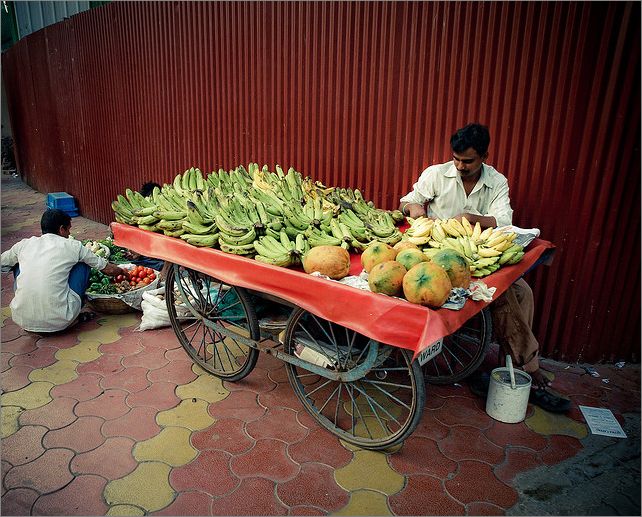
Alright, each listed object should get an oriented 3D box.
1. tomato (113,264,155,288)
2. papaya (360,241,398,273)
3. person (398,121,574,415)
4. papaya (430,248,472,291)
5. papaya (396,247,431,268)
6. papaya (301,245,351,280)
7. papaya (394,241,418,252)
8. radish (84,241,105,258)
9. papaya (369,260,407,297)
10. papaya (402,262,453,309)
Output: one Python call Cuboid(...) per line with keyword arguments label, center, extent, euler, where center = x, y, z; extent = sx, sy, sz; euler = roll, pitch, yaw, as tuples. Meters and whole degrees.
Cuboid(label="tomato", center=(-2.285, 0.212, 5.109), extent=(0.286, 0.144, 0.319), euler=(15, 19, 24))
Cuboid(label="papaya", center=(0.405, -0.051, 2.777), extent=(0.203, 0.219, 0.200), euler=(9, 50, 12))
Cuboid(label="person", center=(1.426, 0.029, 3.845), extent=(0.868, 2.413, 1.440), euler=(-8, 20, -5))
Cuboid(label="papaya", center=(0.853, 0.020, 2.681), extent=(0.275, 0.237, 0.253), euler=(20, 18, 21))
Cuboid(label="papaya", center=(0.609, -0.005, 2.679), extent=(0.139, 0.148, 0.145), euler=(1, 48, -8))
Cuboid(label="papaya", center=(0.056, 0.021, 2.900), extent=(0.329, 0.218, 0.236), euler=(6, 17, 10))
Cuboid(label="papaya", center=(0.607, -0.093, 2.984), extent=(0.097, 0.075, 0.127), euler=(0, 5, 2))
Cuboid(label="radish", center=(-2.970, -0.146, 5.452), extent=(0.248, 0.144, 0.352), euler=(-3, 30, -40))
Cuboid(label="papaya", center=(0.436, 0.141, 2.656), extent=(0.262, 0.251, 0.247), euler=(-7, -9, 7))
Cuboid(label="papaya", center=(0.620, 0.138, 2.471), extent=(0.305, 0.253, 0.317), euler=(6, 16, 15))
